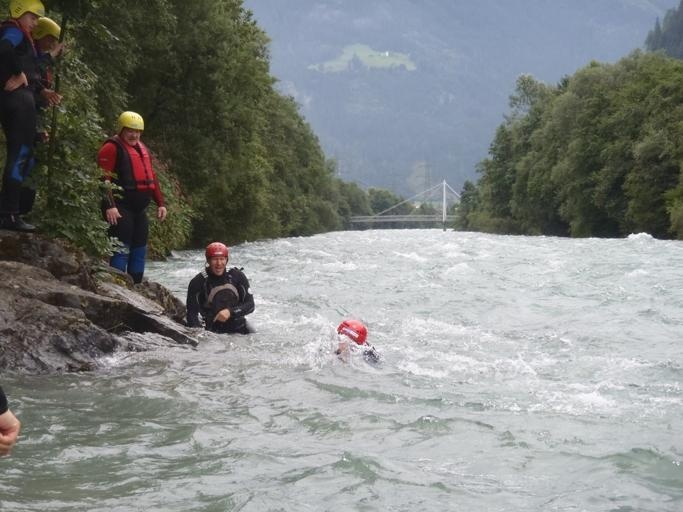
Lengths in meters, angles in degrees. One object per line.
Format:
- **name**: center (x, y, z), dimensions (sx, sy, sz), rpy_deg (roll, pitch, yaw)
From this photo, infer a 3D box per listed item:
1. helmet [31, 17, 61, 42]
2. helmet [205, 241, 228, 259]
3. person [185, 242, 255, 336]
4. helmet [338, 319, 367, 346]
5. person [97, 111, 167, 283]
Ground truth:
- **helmet**: center (-4.124, -3.112, 11.103), dimensions (0.380, 0.296, 0.266), rpy_deg (23, 8, 8)
- **helmet**: center (-1.922, -0.099, 12.128), dimensions (0.265, 0.279, 0.316), rpy_deg (1, -13, -11)
- **person**: center (-1.922, 0.705, 12.337), dimensions (1.130, 1.703, 0.799), rpy_deg (-12, 18, -32)
- **helmet**: center (0.148, 1.083, 11.400), dimensions (0.371, 0.272, 0.294), rpy_deg (29, 6, 25)
- **person**: center (-3.382, -0.880, 12.699), dimensions (0.995, 2.750, 1.040), rpy_deg (-2, 9, -15)
